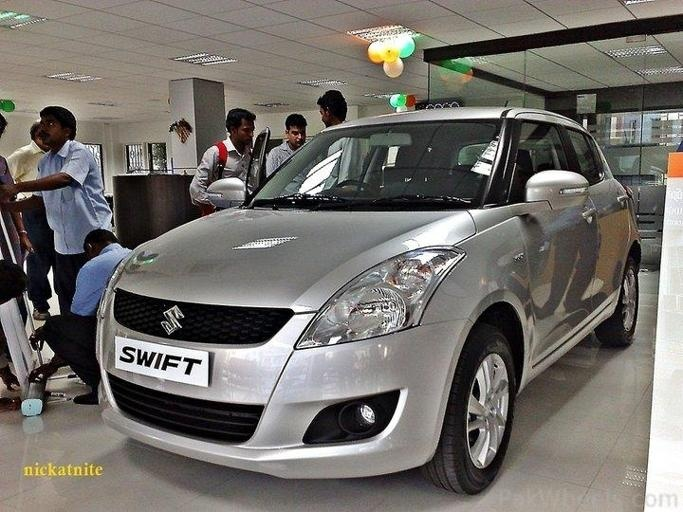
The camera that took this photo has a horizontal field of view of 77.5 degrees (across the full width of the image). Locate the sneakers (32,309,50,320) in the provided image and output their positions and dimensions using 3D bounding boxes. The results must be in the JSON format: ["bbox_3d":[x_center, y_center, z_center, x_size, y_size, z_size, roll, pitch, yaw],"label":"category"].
[{"bbox_3d":[-3.465,0.676,4.875,0.300,0.126,0.116,0,3,35],"label":"sneakers"}]

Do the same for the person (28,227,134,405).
[{"bbox_3d":[-1.635,0.382,2.816,0.782,1.074,0.698,-1,-3,39],"label":"person"}]

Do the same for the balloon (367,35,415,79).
[{"bbox_3d":[0.964,-4.150,8.840,1.057,0.622,0.918,-5,9,-11],"label":"balloon"}]

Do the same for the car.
[{"bbox_3d":[0.443,0.126,2.183,1.589,1.055,2.368,1,4,34],"label":"car"}]
